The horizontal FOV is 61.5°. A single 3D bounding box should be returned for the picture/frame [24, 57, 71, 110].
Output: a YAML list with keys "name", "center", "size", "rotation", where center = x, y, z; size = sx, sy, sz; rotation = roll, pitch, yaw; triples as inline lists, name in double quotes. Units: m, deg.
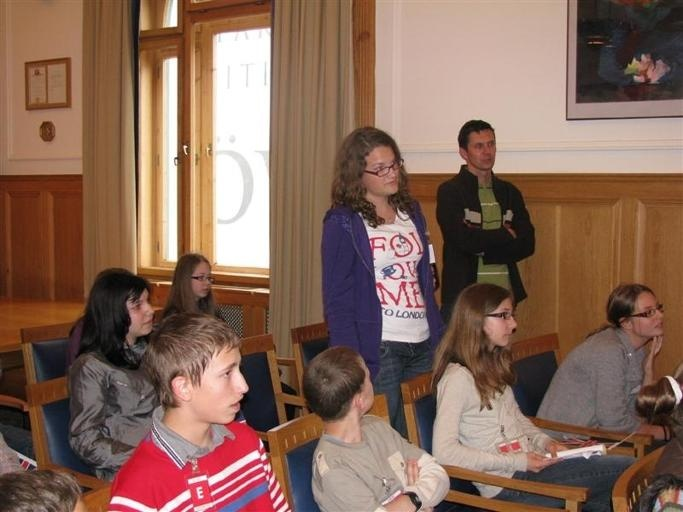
- name: "picture/frame"
  center: [-2.875, -1.708, 5.658]
  size: [0.518, 0.475, 0.040]
  rotation: [2, 9, 25]

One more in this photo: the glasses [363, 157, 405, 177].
- name: "glasses"
  center: [0.209, -0.383, 2.525]
  size: [0.229, 0.081, 0.099]
  rotation: [-5, 4, -44]
